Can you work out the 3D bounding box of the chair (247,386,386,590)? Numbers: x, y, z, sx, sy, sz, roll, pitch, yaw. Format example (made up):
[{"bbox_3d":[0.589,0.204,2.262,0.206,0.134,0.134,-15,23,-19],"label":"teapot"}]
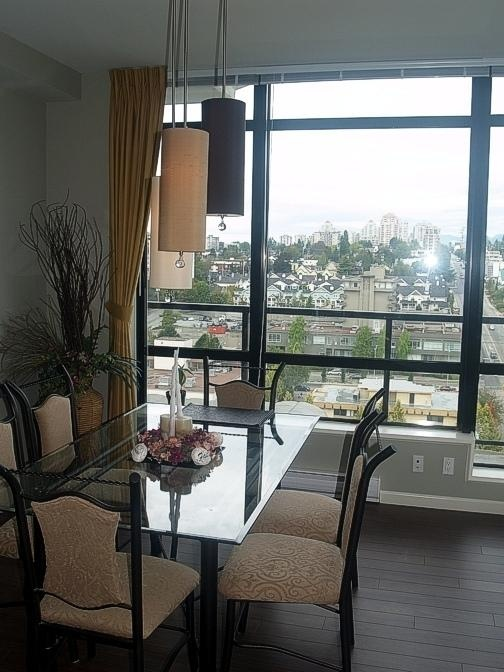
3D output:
[{"bbox_3d":[0.255,0.508,2.322,0.605,0.952,0.544,6,11,12],"label":"chair"}]
